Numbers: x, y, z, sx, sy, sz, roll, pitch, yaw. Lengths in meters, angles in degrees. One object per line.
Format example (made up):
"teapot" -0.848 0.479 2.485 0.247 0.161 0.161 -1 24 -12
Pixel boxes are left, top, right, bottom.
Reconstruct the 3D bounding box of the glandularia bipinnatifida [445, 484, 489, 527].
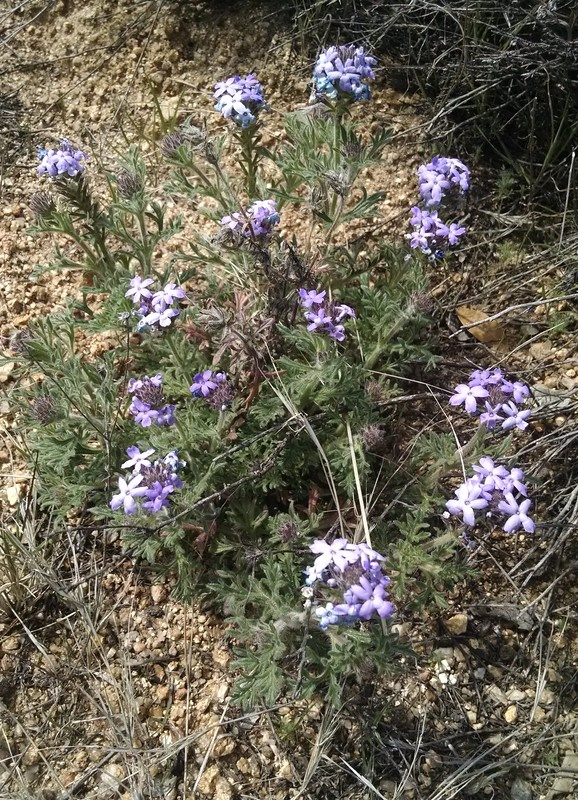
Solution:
"glandularia bipinnatifida" 0.648 0.366 2.857 0.117 0.078 0.142 28 59 36

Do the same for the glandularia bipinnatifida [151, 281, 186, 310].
"glandularia bipinnatifida" -0.454 -0.411 3.188 0.148 0.032 0.122 -13 48 8

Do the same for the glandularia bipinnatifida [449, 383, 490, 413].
"glandularia bipinnatifida" 0.716 -0.008 3.118 0.143 0.090 0.113 -3 46 13

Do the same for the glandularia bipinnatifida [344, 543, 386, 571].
"glandularia bipinnatifida" 0.264 0.542 2.781 0.100 0.025 0.099 -2 33 -48

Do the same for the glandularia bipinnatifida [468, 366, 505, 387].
"glandularia bipinnatifida" 0.803 -0.092 3.134 0.106 0.021 0.101 -30 33 -26

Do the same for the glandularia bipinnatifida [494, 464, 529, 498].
"glandularia bipinnatifida" 0.807 0.288 2.900 0.106 0.080 0.126 -7 45 10

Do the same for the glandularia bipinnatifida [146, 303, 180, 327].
"glandularia bipinnatifida" -0.505 -0.336 3.144 0.112 0.017 0.096 -20 65 8

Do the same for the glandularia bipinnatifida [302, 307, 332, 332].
"glandularia bipinnatifida" 0.127 -0.339 3.418 0.117 0.049 0.107 -8 30 -8

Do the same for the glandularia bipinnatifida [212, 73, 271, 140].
"glandularia bipinnatifida" -0.208 -1.263 3.417 0.278 0.252 0.133 0 3 -1

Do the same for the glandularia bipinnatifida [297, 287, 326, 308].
"glandularia bipinnatifida" 0.095 -0.446 3.478 0.111 0.046 0.074 -5 75 29

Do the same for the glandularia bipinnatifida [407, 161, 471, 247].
"glandularia bipinnatifida" 0.682 -0.872 3.649 0.304 0.414 0.222 3 6 21
